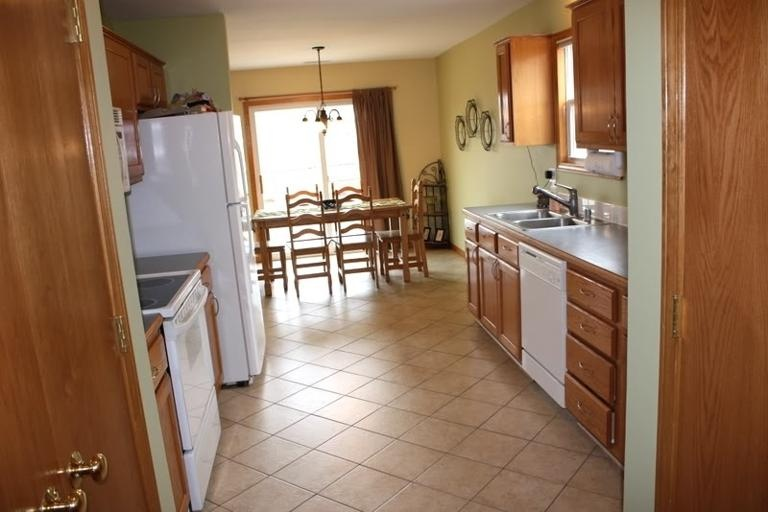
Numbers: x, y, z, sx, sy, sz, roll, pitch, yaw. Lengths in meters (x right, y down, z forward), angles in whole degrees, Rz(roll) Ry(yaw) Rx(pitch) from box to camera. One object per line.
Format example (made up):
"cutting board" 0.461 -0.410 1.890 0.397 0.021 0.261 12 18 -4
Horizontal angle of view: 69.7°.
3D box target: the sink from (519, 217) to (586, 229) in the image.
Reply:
"sink" 1.264 -0.256 4.350 0.260 0.089 0.207 -5 16 -17

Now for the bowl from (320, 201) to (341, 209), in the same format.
"bowl" -0.641 -0.607 6.538 0.138 0.114 0.092 2 1 2

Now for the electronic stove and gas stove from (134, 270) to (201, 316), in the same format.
"electronic stove and gas stove" -1.240 0.203 3.105 0.237 0.073 0.343 -7 23 -12

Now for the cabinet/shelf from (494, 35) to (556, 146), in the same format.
"cabinet/shelf" 1.249 -1.423 4.794 0.481 0.922 0.190 -4 15 18

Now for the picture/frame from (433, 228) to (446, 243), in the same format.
"picture/frame" 0.829 -0.313 8.385 0.142 0.191 0.045 5 1 26
